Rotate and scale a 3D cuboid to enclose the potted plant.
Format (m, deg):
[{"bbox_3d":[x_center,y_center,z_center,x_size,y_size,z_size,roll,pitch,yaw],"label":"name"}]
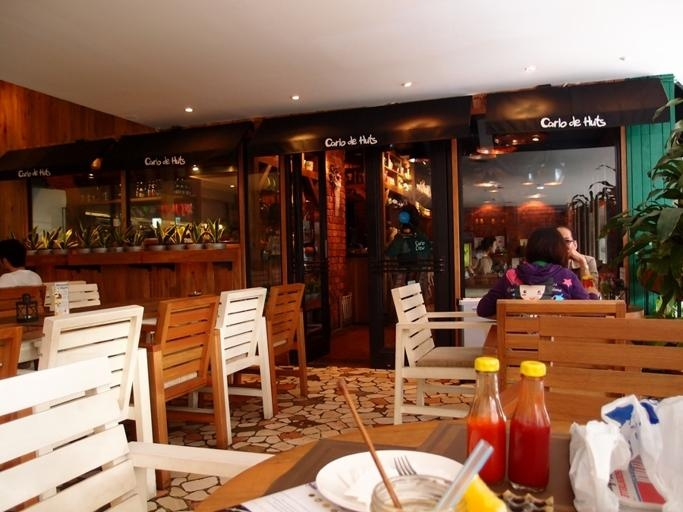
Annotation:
[{"bbox_3d":[-2.541,-0.243,5.908,2.656,0.338,0.459,-2,4,14],"label":"potted plant"}]

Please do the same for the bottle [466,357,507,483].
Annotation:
[{"bbox_3d":[0.313,0.343,1.071,0.081,0.283,0.191,-2,4,17],"label":"bottle"}]

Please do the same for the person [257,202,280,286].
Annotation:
[{"bbox_3d":[-0.824,-0.090,5.716,0.363,1.226,0.256,0,-20,-11],"label":"person"}]

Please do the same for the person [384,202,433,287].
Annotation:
[{"bbox_3d":[0.696,-0.065,5.249,0.484,0.970,0.309,-3,15,5],"label":"person"}]

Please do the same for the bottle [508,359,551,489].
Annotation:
[{"bbox_3d":[0.393,0.371,1.043,0.082,0.254,0.038,-2,4,17],"label":"bottle"}]

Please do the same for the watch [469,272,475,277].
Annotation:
[{"bbox_3d":[1.340,0.181,5.054,0.056,0.041,0.016,-3,4,4],"label":"watch"}]
